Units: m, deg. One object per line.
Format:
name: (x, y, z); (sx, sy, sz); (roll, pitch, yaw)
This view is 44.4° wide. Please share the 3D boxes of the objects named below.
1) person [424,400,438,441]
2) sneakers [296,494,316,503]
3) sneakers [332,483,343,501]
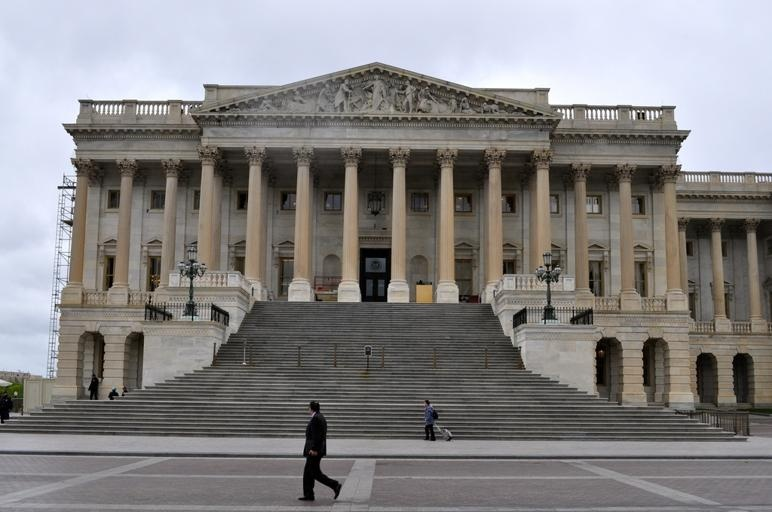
person: (2.106, 7.815, 45.153); (0.539, 1.884, 1.013); (1, 1, 2)
sneakers: (-2.839, 8.558, 33.275); (0.634, 0.251, 0.208); (4, -9, 3)
sneakers: (-1.717, 8.321, 33.318); (0.226, 0.631, 0.274); (14, -3, -22)
